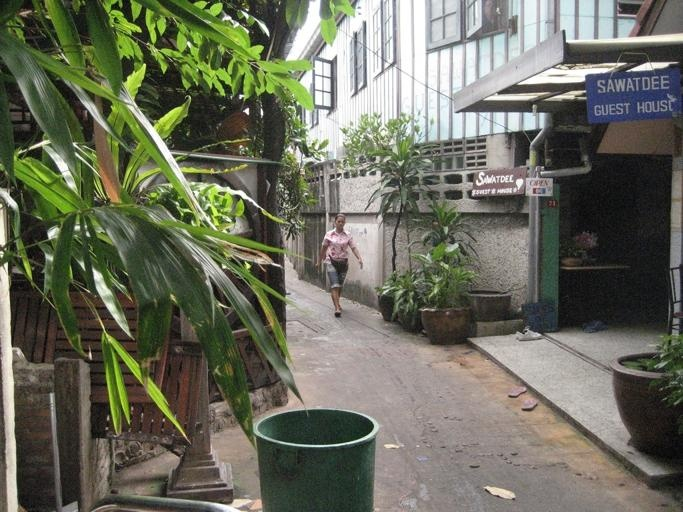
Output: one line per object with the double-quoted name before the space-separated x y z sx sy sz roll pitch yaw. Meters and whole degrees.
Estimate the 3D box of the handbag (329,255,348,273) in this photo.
"handbag" -0.022 0.155 11.405 0.312 0.332 0.235 0 5 -13

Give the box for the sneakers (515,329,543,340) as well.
"sneakers" 2.755 1.148 8.642 0.278 0.135 0.184 -3 3 -12

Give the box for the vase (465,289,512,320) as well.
"vase" 2.274 0.759 9.058 0.475 0.319 0.502 -1 2 28

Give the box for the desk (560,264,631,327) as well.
"desk" 4.884 0.751 11.434 1.395 1.436 1.367 0 -3 0
